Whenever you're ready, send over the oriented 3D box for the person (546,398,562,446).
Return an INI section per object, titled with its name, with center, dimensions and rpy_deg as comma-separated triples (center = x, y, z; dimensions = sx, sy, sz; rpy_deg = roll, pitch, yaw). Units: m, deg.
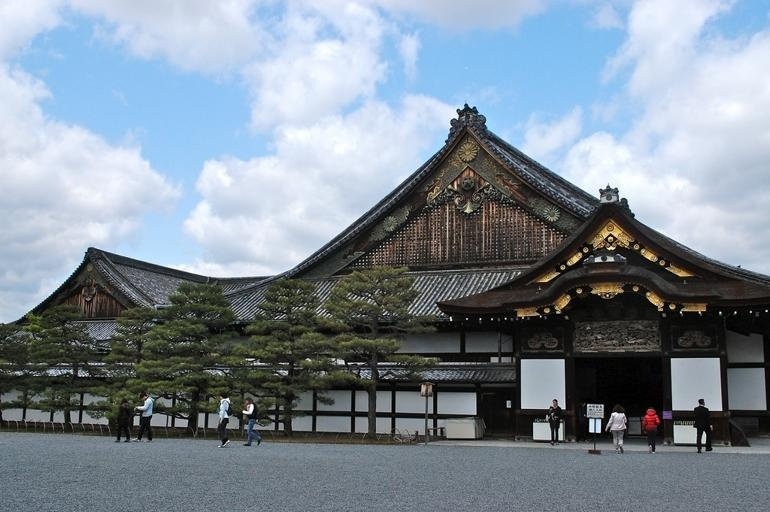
[person]
center = 7.244, 7.025, 36.271
dimensions = 0.628, 1.957, 1.036
rpy_deg = -2, -18, 10
